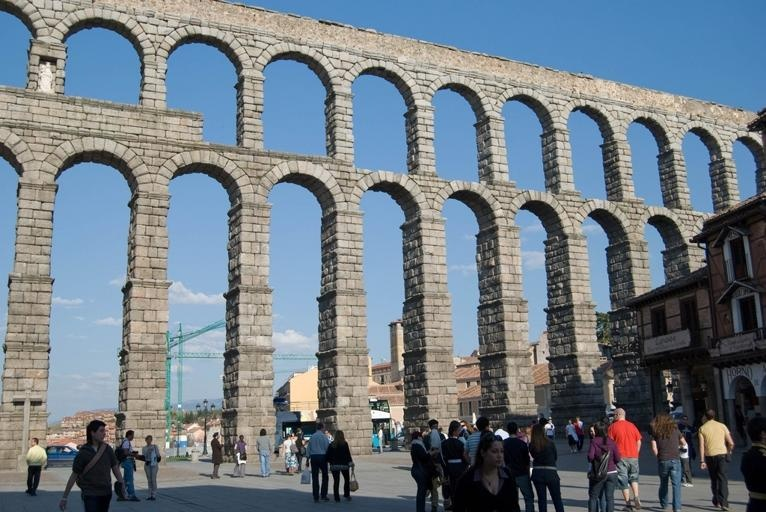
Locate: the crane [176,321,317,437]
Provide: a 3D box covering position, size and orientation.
[{"bbox_3d":[-13.352,9.192,64.465,6.461,8.255,4.740,-2,1,-17],"label":"crane"}]

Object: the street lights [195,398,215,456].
[{"bbox_3d":[-12.857,7.790,31.003,0.700,1.898,0.499,5,-6,-19],"label":"street lights"}]
